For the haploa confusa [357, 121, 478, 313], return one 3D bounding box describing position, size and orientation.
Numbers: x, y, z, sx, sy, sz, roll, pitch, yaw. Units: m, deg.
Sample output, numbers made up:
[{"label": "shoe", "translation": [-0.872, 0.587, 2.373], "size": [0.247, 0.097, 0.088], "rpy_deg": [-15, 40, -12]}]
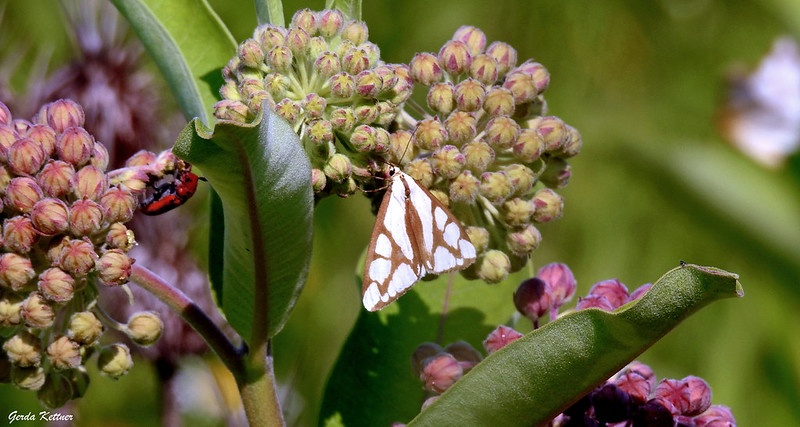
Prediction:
[{"label": "haploa confusa", "translation": [0.086, 0.433, 4.943], "size": [0.944, 0.204, 0.718], "rpy_deg": [-33, 4, -4]}]
